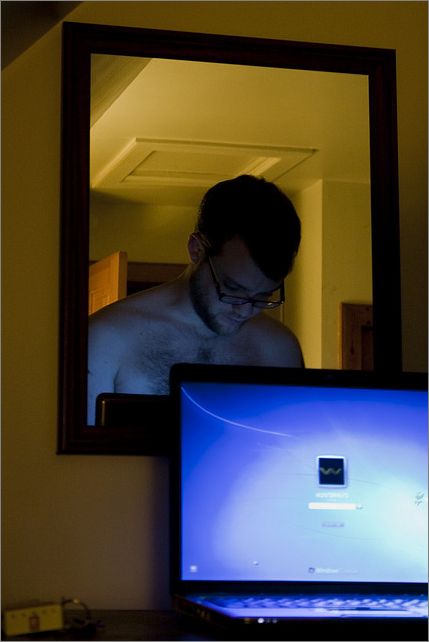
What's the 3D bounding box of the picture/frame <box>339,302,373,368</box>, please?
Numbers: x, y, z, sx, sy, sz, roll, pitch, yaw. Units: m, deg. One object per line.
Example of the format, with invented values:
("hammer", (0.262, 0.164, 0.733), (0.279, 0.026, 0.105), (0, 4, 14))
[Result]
("picture/frame", (0.297, 0.038, 1.544), (0.078, 0.141, 0.016), (2, -7, -21))
